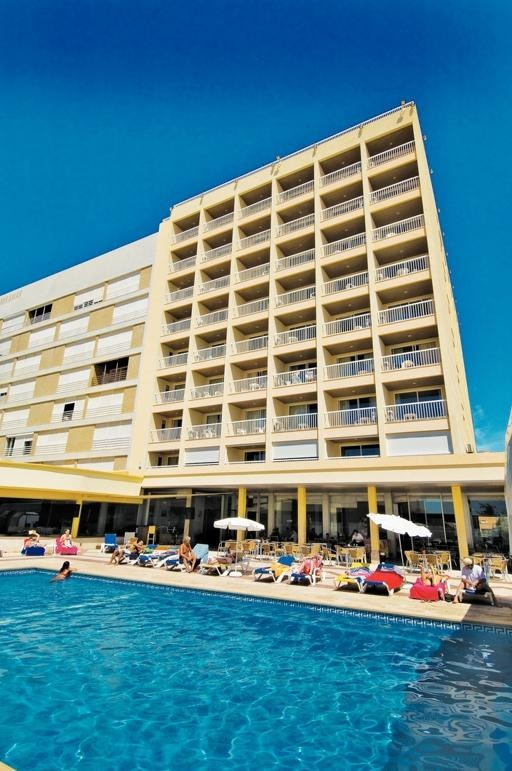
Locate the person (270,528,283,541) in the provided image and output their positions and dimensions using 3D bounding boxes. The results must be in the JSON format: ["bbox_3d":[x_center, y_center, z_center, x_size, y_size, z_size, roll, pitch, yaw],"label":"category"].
[{"bbox_3d":[1.011,8.329,23.970,0.508,0.802,0.461,2,-25,-5],"label":"person"}]

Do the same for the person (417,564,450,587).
[{"bbox_3d":[4.454,5.170,11.513,0.707,0.559,1.275,-6,-15,21],"label":"person"}]

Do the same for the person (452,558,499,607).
[{"bbox_3d":[5.248,5.066,11.004,1.021,1.141,1.254,-18,-48,20],"label":"person"}]
